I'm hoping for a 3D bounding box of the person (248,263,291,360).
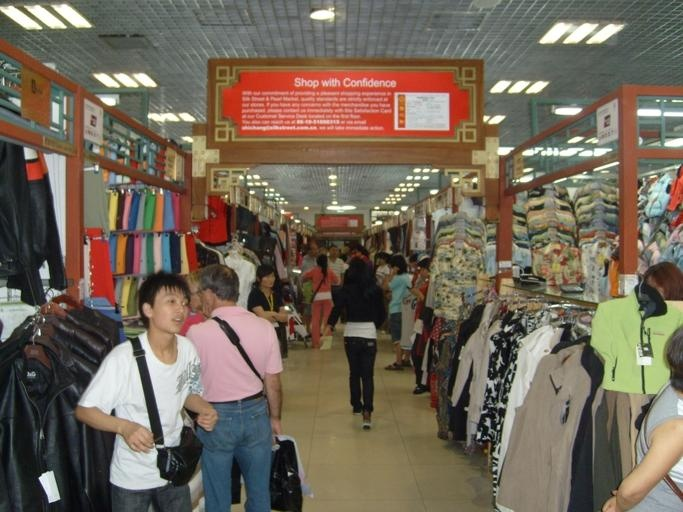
[{"bbox_3d":[-0.779,0.698,5.933,0.415,1.131,0.357,-10,13,-41],"label":"person"}]

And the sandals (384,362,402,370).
[{"bbox_3d":[0.761,1.615,8.011,0.216,0.105,0.111,2,-4,-2],"label":"sandals"}]

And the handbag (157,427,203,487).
[{"bbox_3d":[-0.776,0.965,2.625,0.108,0.255,0.183,2,4,35],"label":"handbag"}]

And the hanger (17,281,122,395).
[{"bbox_3d":[-1.368,0.386,2.758,0.379,0.394,0.143,32,-37,-2],"label":"hanger"}]

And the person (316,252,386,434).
[{"bbox_3d":[0.149,0.872,5.758,0.591,1.729,0.591,0,3,-3],"label":"person"}]
